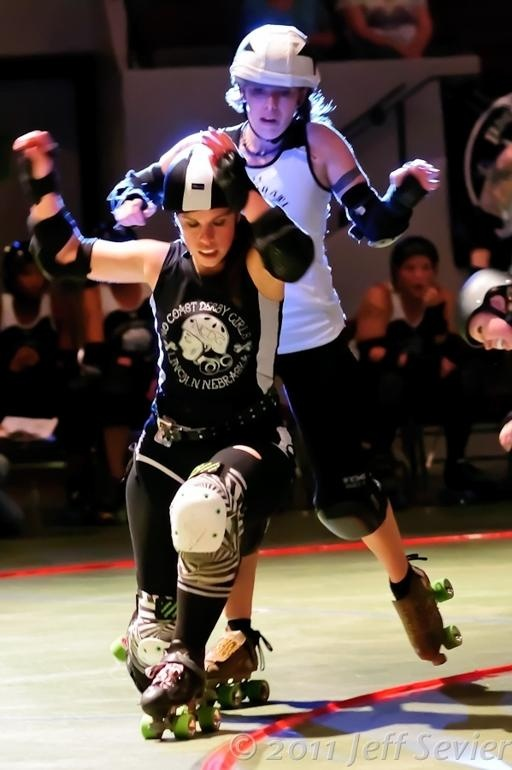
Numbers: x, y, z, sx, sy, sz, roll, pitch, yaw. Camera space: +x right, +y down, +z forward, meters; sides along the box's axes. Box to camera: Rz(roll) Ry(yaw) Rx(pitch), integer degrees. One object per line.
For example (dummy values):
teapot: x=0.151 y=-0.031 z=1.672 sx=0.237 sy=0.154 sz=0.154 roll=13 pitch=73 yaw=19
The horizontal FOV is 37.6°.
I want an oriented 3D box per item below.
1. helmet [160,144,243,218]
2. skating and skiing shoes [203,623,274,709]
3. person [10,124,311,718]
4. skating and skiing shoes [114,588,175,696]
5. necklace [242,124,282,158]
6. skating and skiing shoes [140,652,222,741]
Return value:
helmet: x=-0.100 y=-0.391 z=1.379 sx=0.155 sy=0.108 sz=0.189 roll=4 pitch=20 yaw=11
skating and skiing shoes: x=-0.072 y=0.590 z=1.576 sx=0.217 sy=0.142 sz=0.082 roll=14 pitch=-12 yaw=-42
person: x=-0.146 y=0.038 z=1.382 sx=0.551 sy=1.051 sz=0.376 roll=-4 pitch=-11 yaw=8
skating and skiing shoes: x=-0.201 y=0.508 z=1.483 sx=0.151 sy=0.199 sz=0.224 roll=0 pitch=-13 yaw=2
necklace: x=0.007 y=-0.554 z=1.765 sx=0.080 sy=0.071 sz=0.096 roll=15 pitch=-17 yaw=0
skating and skiing shoes: x=-0.106 y=0.530 z=1.310 sx=0.085 sy=0.100 sz=0.251 roll=-13 pitch=-10 yaw=23
